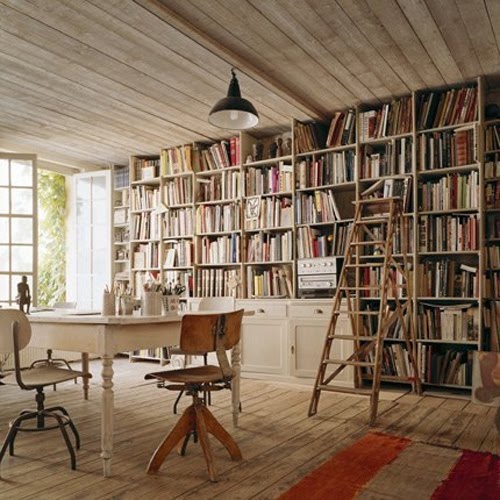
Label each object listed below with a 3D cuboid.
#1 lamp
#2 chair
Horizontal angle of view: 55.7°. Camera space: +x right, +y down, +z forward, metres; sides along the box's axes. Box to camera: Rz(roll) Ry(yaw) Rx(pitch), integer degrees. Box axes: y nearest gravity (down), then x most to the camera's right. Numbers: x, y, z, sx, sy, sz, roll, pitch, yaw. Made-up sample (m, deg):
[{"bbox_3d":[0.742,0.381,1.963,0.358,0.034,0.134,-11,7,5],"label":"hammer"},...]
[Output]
[{"bbox_3d":[-0.127,-1.141,3.627,0.458,0.401,0.432,0,-5,-3],"label":"lamp"},{"bbox_3d":[-0.763,0.749,2.711,1.316,0.571,0.922,-2,-2,24],"label":"chair"}]
